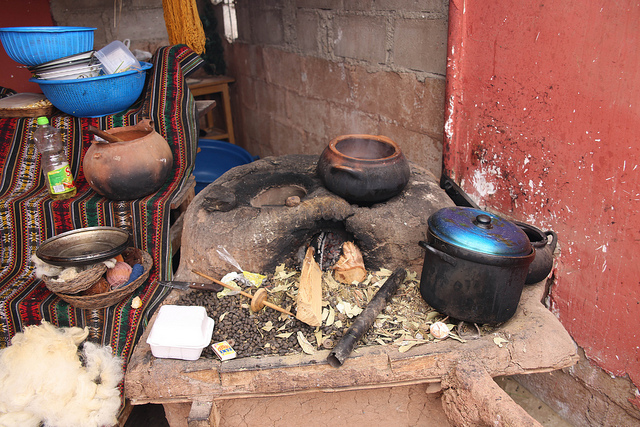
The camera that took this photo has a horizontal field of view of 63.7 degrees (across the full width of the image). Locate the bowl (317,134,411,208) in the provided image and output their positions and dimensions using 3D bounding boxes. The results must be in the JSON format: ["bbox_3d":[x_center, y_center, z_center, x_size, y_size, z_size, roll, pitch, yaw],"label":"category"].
[{"bbox_3d":[0.322,-0.235,3.750,0.569,0.308,0.619,-2,38,2],"label":"bowl"}]

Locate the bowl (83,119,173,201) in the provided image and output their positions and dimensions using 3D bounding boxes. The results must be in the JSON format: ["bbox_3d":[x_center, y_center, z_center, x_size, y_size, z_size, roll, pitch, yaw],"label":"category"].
[{"bbox_3d":[-1.407,-0.344,4.032,0.614,0.472,0.626,2,24,-1],"label":"bowl"}]

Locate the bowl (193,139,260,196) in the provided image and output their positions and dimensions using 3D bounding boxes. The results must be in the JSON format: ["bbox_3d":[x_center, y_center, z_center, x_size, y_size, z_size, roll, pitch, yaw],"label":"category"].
[{"bbox_3d":[-1.082,-0.555,5.531,0.597,0.438,0.536,-6,40,-9],"label":"bowl"}]

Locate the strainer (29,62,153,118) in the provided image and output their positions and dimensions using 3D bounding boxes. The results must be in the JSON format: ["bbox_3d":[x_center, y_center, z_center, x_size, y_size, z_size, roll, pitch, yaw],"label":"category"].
[{"bbox_3d":[-1.945,-1.001,4.332,1.023,0.410,0.979,-3,18,6],"label":"strainer"}]

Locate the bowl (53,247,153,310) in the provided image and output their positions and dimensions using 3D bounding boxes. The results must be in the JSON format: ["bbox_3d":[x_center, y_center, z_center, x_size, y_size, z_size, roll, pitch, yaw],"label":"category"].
[{"bbox_3d":[-1.480,0.485,3.666,0.339,0.135,0.634,26,45,27],"label":"bowl"}]

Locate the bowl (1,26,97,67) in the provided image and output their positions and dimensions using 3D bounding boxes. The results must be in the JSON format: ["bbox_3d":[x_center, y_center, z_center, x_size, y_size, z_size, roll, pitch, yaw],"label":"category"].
[{"bbox_3d":[-2.050,-1.270,3.854,0.407,0.161,0.410,-1,24,0],"label":"bowl"}]

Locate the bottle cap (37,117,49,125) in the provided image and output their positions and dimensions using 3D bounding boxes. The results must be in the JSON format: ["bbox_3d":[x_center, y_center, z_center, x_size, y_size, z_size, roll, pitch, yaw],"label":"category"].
[{"bbox_3d":[-2.105,-0.702,3.902,0.059,0.041,0.059,-8,19,-30],"label":"bottle cap"}]

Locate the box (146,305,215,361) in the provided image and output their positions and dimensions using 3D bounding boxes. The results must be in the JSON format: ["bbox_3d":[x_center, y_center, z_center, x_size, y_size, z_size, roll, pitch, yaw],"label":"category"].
[{"bbox_3d":[-0.861,0.742,3.212,0.359,0.224,0.259,6,39,5],"label":"box"}]
